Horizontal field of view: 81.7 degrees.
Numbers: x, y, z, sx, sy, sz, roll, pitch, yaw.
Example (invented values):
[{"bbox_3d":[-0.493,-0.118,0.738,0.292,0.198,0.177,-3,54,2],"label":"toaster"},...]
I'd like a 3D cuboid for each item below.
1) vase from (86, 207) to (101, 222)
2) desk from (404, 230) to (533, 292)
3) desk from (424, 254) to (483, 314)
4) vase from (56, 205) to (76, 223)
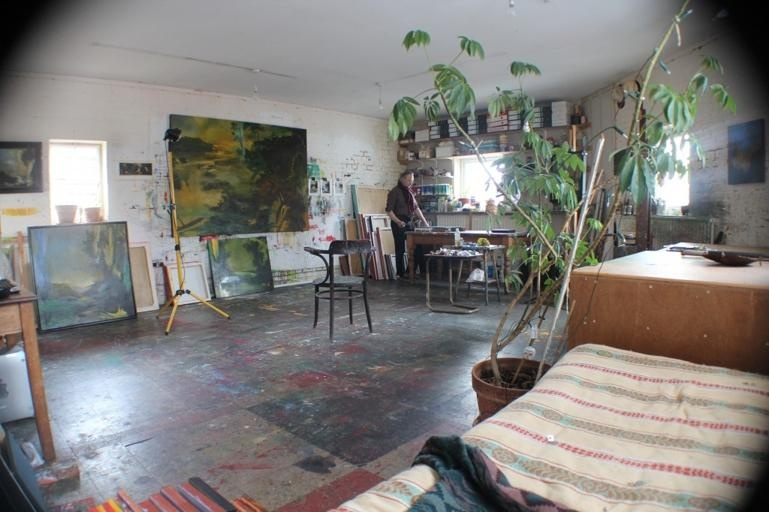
[{"bbox_3d":[-4.037,-0.571,6.172,0.208,0.147,0.206,-1,1,32],"label":"vase"},{"bbox_3d":[1.236,-0.030,7.760,1.740,0.726,0.827,0,1,11],"label":"desk"},{"bbox_3d":[0.953,0.207,6.612,0.799,0.949,1.079,5,9,29],"label":"desk"},{"bbox_3d":[-4.188,-0.534,5.917,0.249,0.238,0.239,-3,-3,39],"label":"vase"}]
